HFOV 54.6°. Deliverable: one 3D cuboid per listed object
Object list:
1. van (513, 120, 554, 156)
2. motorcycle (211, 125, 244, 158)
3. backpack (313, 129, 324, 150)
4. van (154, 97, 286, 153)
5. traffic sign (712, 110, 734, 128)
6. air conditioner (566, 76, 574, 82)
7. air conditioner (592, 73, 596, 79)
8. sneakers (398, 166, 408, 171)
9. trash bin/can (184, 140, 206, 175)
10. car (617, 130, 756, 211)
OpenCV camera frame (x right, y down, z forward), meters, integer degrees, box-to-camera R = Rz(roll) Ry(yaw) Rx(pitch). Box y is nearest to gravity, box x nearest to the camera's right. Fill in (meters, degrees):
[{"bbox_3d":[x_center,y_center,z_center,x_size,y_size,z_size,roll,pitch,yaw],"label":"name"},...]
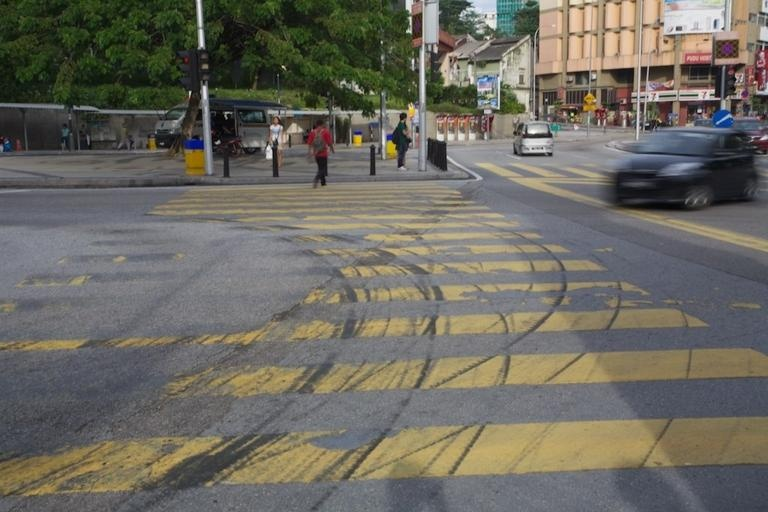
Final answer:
[{"bbox_3d":[8.405,-6.542,41.676,1.734,1.916,2.314,-1,15,-3],"label":"van"},{"bbox_3d":[-8.495,-6.077,39.763,1.517,1.505,1.136,-6,15,-21],"label":"motorcycle"},{"bbox_3d":[-2.100,-3.612,23.422,0.301,0.593,0.473,-1,14,-1],"label":"backpack"},{"bbox_3d":[-8.871,-7.428,40.876,5.469,2.568,3.143,-10,23,-40],"label":"van"},{"bbox_3d":[14.466,-5.866,31.694,0.704,0.785,2.359,5,17,21],"label":"traffic sign"},{"bbox_3d":[29.265,-27.845,117.183,1.101,1.148,0.835,0,-1,16],"label":"air conditioner"},{"bbox_3d":[31.678,-27.250,112.318,0.737,1.121,0.376,6,15,24],"label":"air conditioner"},{"bbox_3d":[0.706,-3.506,29.856,0.326,0.143,0.170,5,41,1],"label":"sneakers"},{"bbox_3d":[-6.959,-3.659,27.176,0.651,1.225,0.553,-5,14,-20],"label":"trash bin/can"},{"bbox_3d":[7.441,-2.230,18.466,3.254,1.557,1.978,-5,12,-35],"label":"car"}]
